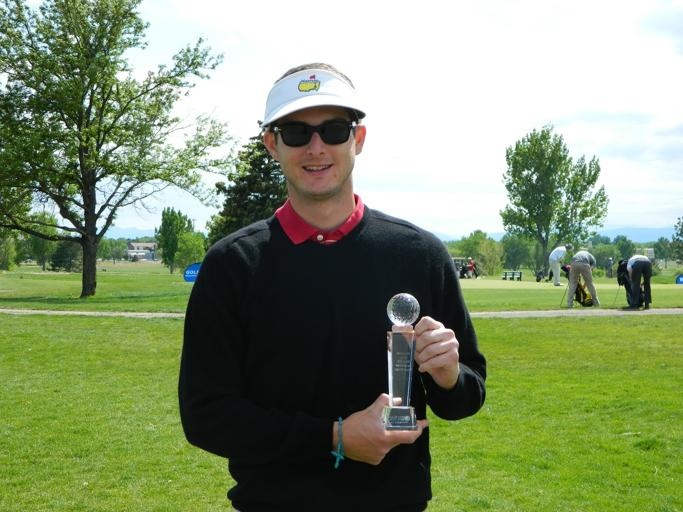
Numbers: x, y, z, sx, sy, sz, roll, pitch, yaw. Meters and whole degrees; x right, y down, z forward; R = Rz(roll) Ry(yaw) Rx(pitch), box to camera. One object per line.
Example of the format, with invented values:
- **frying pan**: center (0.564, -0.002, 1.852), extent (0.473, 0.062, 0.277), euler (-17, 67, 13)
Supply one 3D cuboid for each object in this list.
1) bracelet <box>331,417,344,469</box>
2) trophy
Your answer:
- **bracelet**: center (-0.019, 1.702, 6.764), extent (0.113, 0.465, 0.094), euler (-1, -3, 19)
- **trophy**: center (0.546, 0.957, 6.829), extent (0.323, 1.230, 0.217), euler (0, -2, 2)
